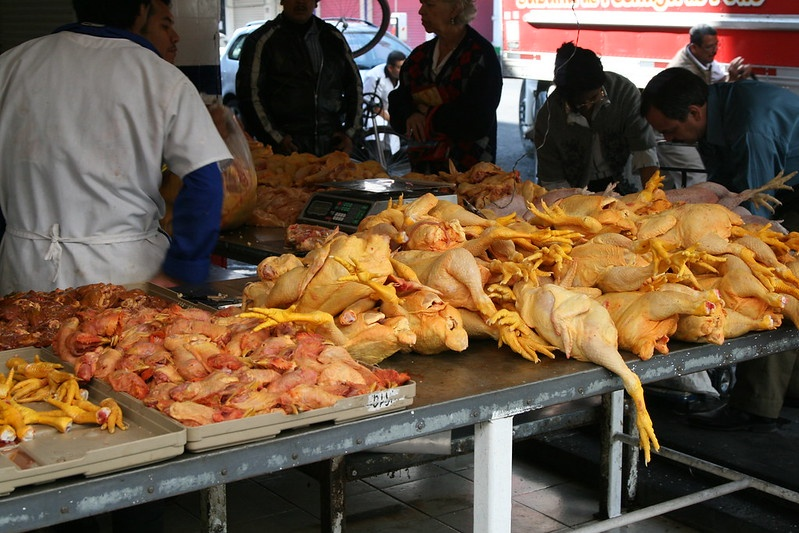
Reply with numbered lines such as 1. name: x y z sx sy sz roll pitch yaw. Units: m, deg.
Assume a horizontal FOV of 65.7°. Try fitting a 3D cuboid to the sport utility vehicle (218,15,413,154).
1. sport utility vehicle: -2.456 -3.670 12.069 4.993 1.831 2.376 0 22 7
